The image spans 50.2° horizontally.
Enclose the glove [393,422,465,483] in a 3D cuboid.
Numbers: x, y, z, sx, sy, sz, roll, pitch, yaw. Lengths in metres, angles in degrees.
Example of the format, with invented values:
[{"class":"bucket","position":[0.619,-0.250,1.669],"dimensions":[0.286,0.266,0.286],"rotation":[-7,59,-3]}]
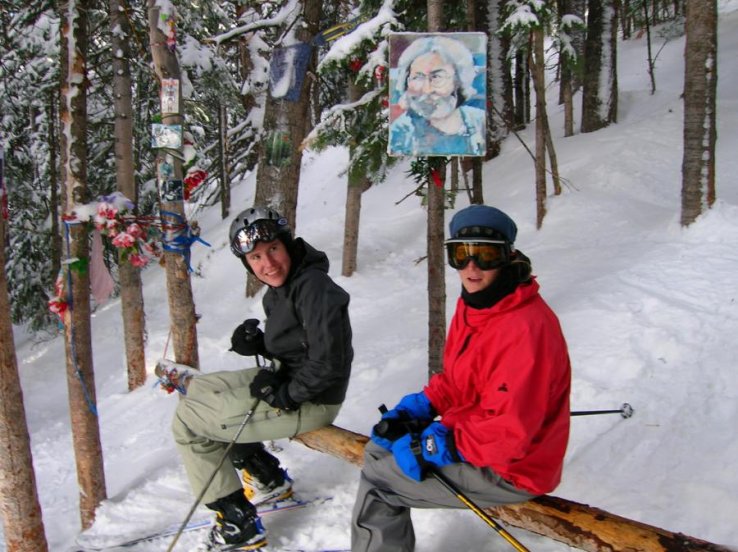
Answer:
[{"class":"glove","position":[0.568,1.776,8.000],"dimensions":[0.670,0.532,0.291],"rotation":[-28,-14,8]}]

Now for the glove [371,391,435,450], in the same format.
[{"class":"glove","position":[0.350,1.506,8.339],"dimensions":[0.703,0.313,0.421],"rotation":[-31,2,-19]}]

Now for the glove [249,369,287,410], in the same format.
[{"class":"glove","position":[-1.127,1.247,8.720],"dimensions":[0.404,0.394,0.281],"rotation":[-5,11,2]}]
